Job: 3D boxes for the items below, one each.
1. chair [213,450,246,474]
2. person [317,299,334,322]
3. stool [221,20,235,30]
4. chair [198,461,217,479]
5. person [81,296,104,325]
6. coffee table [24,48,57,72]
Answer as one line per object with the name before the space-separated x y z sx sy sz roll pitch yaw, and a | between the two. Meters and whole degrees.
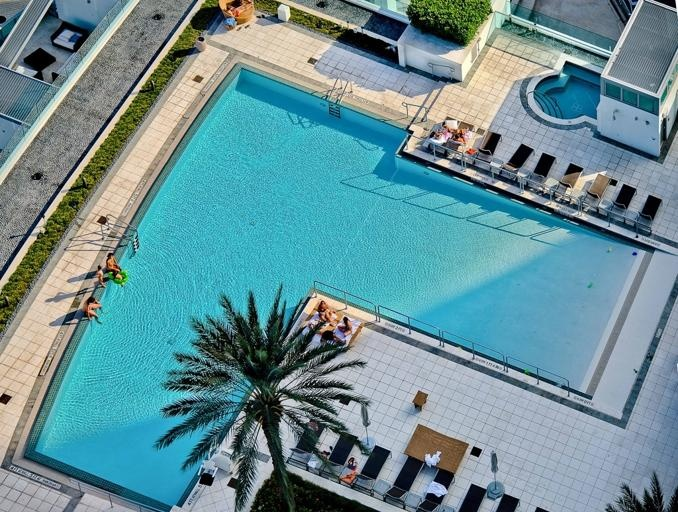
chair | -4.270 8.038 32.675 1.049 1.142 0.985 12 -32 1
person | -0.543 2.246 36.759 0.822 0.630 0.876 48 -22 31
stool | -5.864 -12.286 44.626 0.630 0.526 0.306 21 -9 11
chair | -5.216 8.625 33.856 0.630 0.743 0.879 2 -14 -4
person | -11.144 2.341 37.880 0.866 1.440 1.237 11 -32 -11
coffee table | -16.776 -11.011 46.861 1.255 1.422 0.322 39 -26 8
